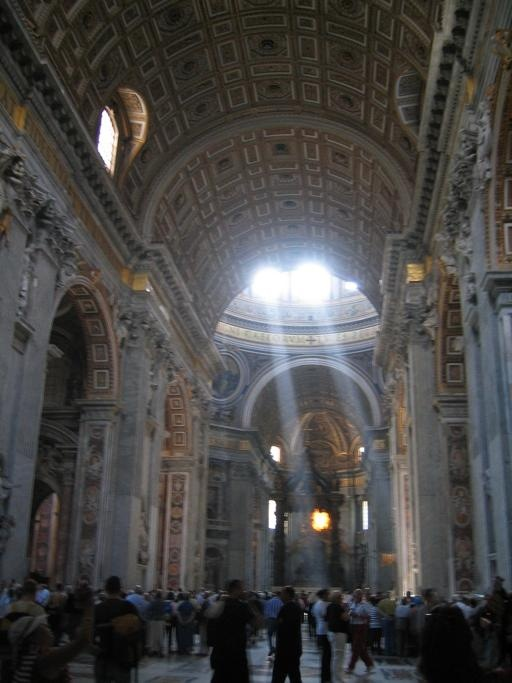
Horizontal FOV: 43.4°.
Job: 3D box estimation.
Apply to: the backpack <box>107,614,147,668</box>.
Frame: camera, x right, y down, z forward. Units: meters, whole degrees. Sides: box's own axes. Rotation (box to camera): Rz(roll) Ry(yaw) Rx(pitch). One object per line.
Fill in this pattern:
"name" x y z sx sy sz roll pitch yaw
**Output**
"backpack" -0.883 2.058 4.437 0.202 0.307 0.241 -8 -16 30
